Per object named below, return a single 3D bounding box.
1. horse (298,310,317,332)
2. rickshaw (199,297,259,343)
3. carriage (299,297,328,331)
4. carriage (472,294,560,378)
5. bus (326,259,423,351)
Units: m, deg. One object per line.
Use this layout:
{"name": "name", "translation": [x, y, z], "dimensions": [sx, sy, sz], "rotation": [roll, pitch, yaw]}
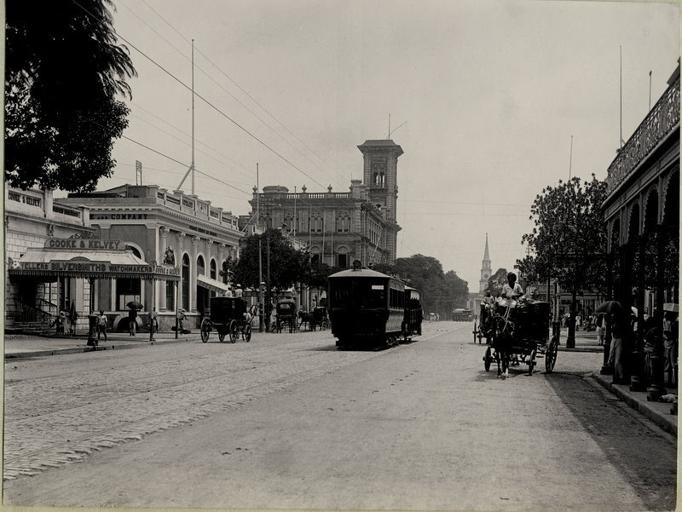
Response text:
{"name": "horse", "translation": [-2.569, 4.896, 63.544], "dimensions": [1.315, 2.197, 1.902], "rotation": [-1, -12, 3]}
{"name": "rickshaw", "translation": [-5.524, 2.841, 39.463], "dimensions": [1.638, 2.205, 2.686], "rotation": [5, 8, 4]}
{"name": "carriage", "translation": [-2.356, 4.569, 62.714], "dimensions": [1.667, 2.504, 3.162], "rotation": [-3, -10, 15]}
{"name": "carriage", "translation": [4.709, 2.172, 22.793], "dimensions": [0.992, 2.118, 2.951], "rotation": [0, 0, 40]}
{"name": "bus", "translation": [1.892, 2.230, 40.168], "dimensions": [2.630, 3.776, 15.857], "rotation": [0, -1, 9]}
